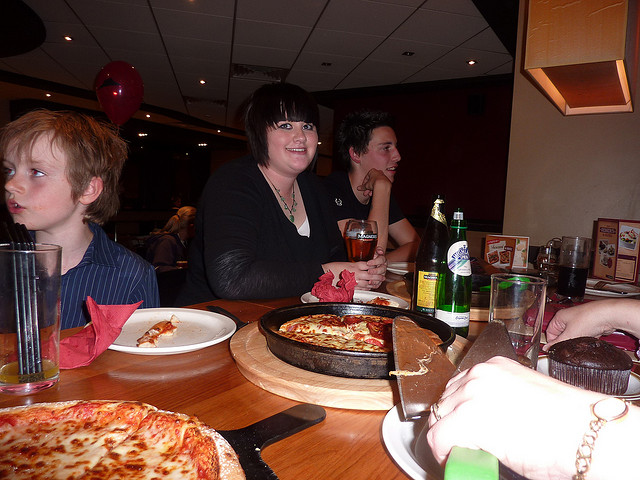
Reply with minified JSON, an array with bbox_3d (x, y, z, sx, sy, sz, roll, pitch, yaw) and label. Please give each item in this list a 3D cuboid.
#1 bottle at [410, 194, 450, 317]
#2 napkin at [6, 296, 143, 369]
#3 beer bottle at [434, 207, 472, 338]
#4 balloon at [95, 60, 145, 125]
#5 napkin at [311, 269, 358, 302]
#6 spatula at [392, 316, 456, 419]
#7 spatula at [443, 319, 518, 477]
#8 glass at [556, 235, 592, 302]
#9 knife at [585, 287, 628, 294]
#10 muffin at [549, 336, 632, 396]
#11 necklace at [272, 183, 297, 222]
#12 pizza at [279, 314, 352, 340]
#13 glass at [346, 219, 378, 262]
[{"bbox_3d":[0.343,0.047,1.400,0.097,0.399,0.114,0,10,-8],"label":"bottle"},{"bbox_3d":[-0.596,0.184,1.089,0.296,0.137,0.225,0,6,-36],"label":"napkin"},{"bbox_3d":[0.368,0.103,1.277,0.089,0.387,0.116,5,4,19],"label":"beer bottle"},{"bbox_3d":[-2.076,-1.554,4.605,0.424,0.670,0.371,2,6,16],"label":"balloon"},{"bbox_3d":[0.053,0.163,1.580,0.160,0.104,0.132,-1,7,-34],"label":"napkin"},{"bbox_3d":[0.188,0.236,0.817,0.115,0.164,0.234,2,5,16],"label":"spatula"},{"bbox_3d":[0.272,0.243,0.750,0.105,0.139,0.487,3,5,25],"label":"spatula"},{"bbox_3d":[1.061,0.128,1.866,0.120,0.270,0.118,5,3,10],"label":"glass"},{"bbox_3d":[1.260,0.219,1.956,0.151,0.011,0.017,9,-38,5],"label":"knife"},{"bbox_3d":[0.555,0.245,0.917,0.140,0.082,0.138,1,-1,1],"label":"muffin"},{"bbox_3d":[-0.170,-0.196,2.377,0.075,0.202,0.010,-7,-22,-30],"label":"necklace"},{"bbox_3d":[-0.012,0.231,1.220,0.180,0.046,0.169,-2,1,-29],"label":"pizza"},{"bbox_3d":[0.176,0.006,1.879,0.127,0.180,0.177,1,5,5],"label":"glass"}]
